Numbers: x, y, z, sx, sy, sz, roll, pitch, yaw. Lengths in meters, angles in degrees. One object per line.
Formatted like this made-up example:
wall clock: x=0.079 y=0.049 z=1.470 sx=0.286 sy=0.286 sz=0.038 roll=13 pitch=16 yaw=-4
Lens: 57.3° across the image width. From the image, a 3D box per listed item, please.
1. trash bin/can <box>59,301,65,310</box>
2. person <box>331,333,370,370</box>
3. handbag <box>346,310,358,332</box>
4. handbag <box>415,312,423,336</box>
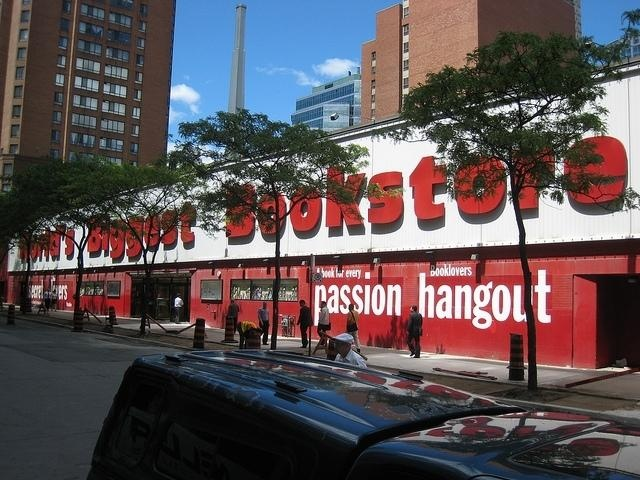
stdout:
trash bin/can: x=-24.763 y=6.301 z=56.397 sx=0.665 sy=0.718 sz=0.324 roll=-13 pitch=-16 yaw=38
person: x=0.444 y=1.747 z=9.218 sx=0.436 sy=0.555 sz=0.816 roll=-5 pitch=2 yaw=-39
handbag: x=1.208 y=3.089 z=22.314 sx=0.380 sy=0.670 sz=0.477 roll=-5 pitch=-3 yaw=-1
handbag: x=3.672 y=3.119 z=21.673 sx=0.181 sy=0.720 sz=0.668 roll=4 pitch=-4 yaw=6
